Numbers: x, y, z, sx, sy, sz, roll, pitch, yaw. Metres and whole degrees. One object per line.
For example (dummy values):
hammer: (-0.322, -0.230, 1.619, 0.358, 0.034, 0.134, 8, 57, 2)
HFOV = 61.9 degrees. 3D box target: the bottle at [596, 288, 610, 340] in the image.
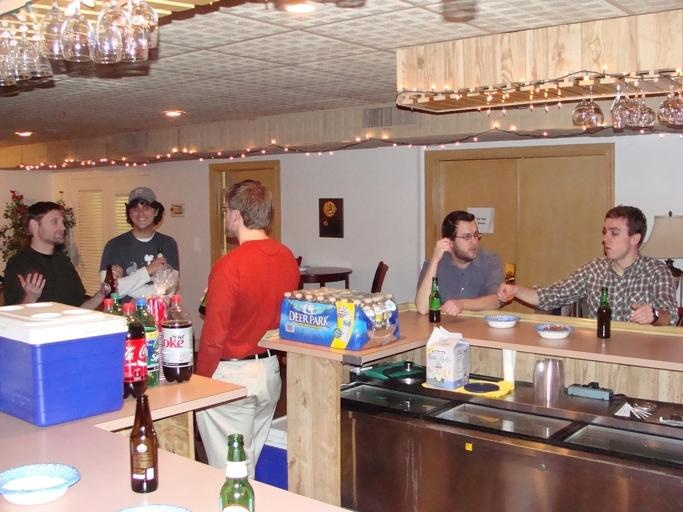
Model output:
bottle: (1.511, 0.302, 3.253, 0.073, 0.274, 0.344, 2, 5, 25)

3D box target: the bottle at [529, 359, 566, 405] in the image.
bottle: (1.034, 0.599, 2.777, 0.169, 0.196, 0.159, 0, 5, 1)

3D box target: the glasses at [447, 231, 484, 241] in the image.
glasses: (0.894, -0.142, 3.999, 0.294, 0.053, 0.129, -3, 6, -33)

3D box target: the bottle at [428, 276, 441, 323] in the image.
bottle: (0.600, 0.275, 3.613, 0.074, 0.265, 0.279, 1, 5, 9)

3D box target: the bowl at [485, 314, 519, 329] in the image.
bowl: (0.994, 0.392, 3.498, 0.187, 0.058, 0.303, 2, 5, 19)

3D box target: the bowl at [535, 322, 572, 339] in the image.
bowl: (1.178, 0.419, 3.154, 0.182, 0.058, 0.221, 2, 5, 27)

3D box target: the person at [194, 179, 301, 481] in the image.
person: (-0.495, 0.367, 3.037, 0.554, 1.532, 0.276, -1, 5, -17)

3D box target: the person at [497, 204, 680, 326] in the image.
person: (1.776, 0.073, 3.827, 0.853, 0.815, 0.804, 4, 6, 40)

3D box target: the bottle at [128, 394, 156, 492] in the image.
bottle: (-0.595, 0.555, 1.707, 0.079, 0.245, 0.169, -2, 5, -20)

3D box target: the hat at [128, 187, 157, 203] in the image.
hat: (-1.589, -0.485, 4.557, 0.184, 0.122, 0.372, -1, 5, -17)
